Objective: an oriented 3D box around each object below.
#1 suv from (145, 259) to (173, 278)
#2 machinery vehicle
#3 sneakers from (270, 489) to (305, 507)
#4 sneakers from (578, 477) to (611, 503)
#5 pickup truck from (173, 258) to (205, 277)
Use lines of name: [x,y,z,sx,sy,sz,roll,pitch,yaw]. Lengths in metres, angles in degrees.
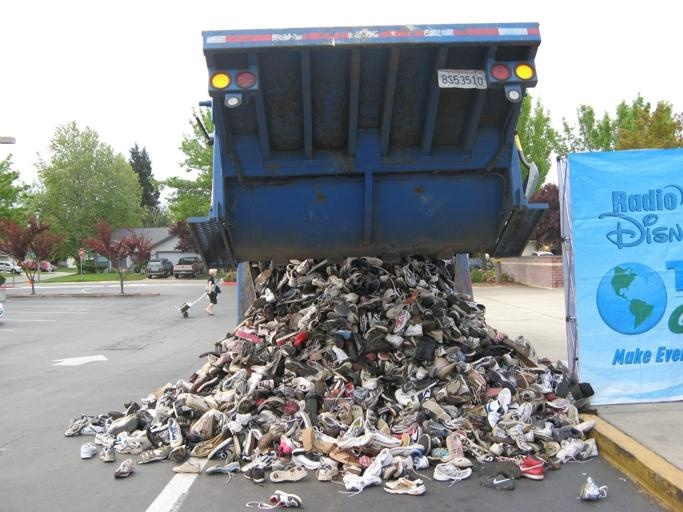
suv: [-14.225,0.890,42.958,1.091,0.978,2.464,0,5,-1]
machinery vehicle: [1.058,-1.066,7.242,5.126,1.967,4.297,5,-3,38]
sneakers: [-0.466,2.070,4.698,0.268,0.124,0.102,0,-9,15]
sneakers: [2.135,1.960,4.627,0.232,0.235,0.158,4,-35,21]
pickup truck: [-11.218,0.835,40.214,1.209,1.057,2.756,0,6,0]
